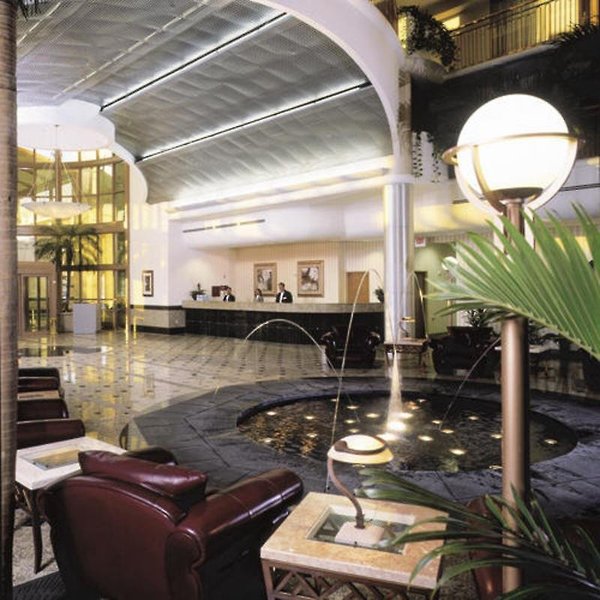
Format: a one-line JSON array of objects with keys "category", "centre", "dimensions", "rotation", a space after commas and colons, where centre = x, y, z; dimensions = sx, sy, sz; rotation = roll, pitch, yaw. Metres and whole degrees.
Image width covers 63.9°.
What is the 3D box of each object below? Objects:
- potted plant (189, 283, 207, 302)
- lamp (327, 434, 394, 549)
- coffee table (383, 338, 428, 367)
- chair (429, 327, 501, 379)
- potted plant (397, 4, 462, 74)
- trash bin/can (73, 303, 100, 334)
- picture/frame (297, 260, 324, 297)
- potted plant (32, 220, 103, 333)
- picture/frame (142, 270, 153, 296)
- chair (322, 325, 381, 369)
[{"category": "potted plant", "centre": [-3.556, -0.250, 16.534], "dimensions": [0.623, 0.533, 0.574], "rotation": [1, -5, 16]}, {"category": "lamp", "centre": [0.255, 0.755, 1.942], "dimensions": [0.285, 0.373, 0.255], "rotation": [4, -11, -19]}, {"category": "coffee table", "centre": [2.078, 1.023, 9.249], "dimensions": [0.805, 0.598, 1.838], "rotation": [-2, 1, 11]}, {"category": "chair", "centre": [2.945, 0.801, 8.197], "dimensions": [0.626, 0.753, 1.072], "rotation": [-17, 0, -41]}, {"category": "potted plant", "centre": [2.780, -5.415, 10.136], "dimensions": [1.379, 0.848, 0.490], "rotation": [-3, 1, -31]}, {"category": "trash bin/can", "centre": [-7.779, 0.671, 17.268], "dimensions": [1.071, 1.221, 1.353], "rotation": [-1, 2, -10]}, {"category": "picture/frame", "centre": [0.372, -0.660, 14.742], "dimensions": [1.333, 1.273, 0.114], "rotation": [1, 0, 35]}, {"category": "potted plant", "centre": [-8.779, -1.372, 18.625], "dimensions": [2.781, 3.102, 2.301], "rotation": [-1, -5, -14]}, {"category": "picture/frame", "centre": [-5.399, -0.577, 16.817], "dimensions": [1.001, 1.016, 0.083], "rotation": [2, 4, 45]}, {"category": "chair", "centre": [1.033, 0.897, 9.510], "dimensions": [1.185, 0.671, 0.603], "rotation": [0, 9, 8]}]
